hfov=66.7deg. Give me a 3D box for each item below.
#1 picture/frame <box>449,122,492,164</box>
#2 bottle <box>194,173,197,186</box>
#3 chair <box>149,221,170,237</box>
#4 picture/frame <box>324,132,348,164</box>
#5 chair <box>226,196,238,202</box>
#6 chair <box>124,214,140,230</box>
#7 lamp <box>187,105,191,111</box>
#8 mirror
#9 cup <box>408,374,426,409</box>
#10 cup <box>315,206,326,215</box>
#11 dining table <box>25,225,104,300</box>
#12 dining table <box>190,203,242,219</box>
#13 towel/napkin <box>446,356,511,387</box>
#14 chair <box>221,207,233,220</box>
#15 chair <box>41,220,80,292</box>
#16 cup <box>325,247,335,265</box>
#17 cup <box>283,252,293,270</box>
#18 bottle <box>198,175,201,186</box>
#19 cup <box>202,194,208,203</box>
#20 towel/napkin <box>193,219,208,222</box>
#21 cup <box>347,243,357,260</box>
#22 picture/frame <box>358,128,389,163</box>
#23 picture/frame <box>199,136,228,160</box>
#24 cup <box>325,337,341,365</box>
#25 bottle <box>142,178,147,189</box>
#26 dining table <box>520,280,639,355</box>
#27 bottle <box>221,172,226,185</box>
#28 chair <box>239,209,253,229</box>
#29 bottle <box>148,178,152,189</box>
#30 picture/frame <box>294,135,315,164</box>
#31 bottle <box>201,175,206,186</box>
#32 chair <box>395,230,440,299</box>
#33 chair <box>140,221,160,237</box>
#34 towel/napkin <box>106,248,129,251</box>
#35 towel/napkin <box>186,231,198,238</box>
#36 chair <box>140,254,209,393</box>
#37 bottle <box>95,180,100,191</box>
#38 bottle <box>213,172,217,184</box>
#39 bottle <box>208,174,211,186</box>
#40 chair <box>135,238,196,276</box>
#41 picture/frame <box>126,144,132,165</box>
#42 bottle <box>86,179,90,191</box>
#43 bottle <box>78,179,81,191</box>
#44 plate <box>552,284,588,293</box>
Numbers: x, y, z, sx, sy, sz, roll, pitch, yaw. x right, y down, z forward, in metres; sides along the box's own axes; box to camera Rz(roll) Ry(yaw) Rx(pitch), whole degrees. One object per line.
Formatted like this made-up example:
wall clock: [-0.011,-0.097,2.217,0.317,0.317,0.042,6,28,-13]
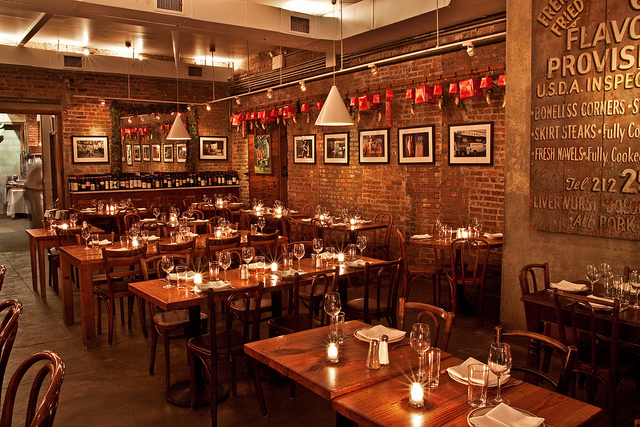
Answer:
picture/frame: [2.505,-1.150,7.963,0.707,0.691,0.029,2,3,44]
bottle: [-3.299,-0.900,12.863,0.075,0.226,0.144,-4,12,-15]
chair: [-2.790,0.265,8.417,0.221,0.295,0.208,-3,14,-30]
picture/frame: [0.381,-1.411,10.561,0.066,0.673,0.673,-5,7,-43]
chair: [-2.362,-0.380,13.166,0.201,0.162,0.207,4,10,16]
chair: [-3.435,0.150,8.893,0.209,0.328,0.247,-8,14,-44]
lamp: [-3.588,-2.865,13.330,0.094,0.132,0.051,1,8,-3]
mirror: [-4.326,-1.897,12.914,1.832,1.379,0.031,1,11,12]
cup: [0.658,1.224,3.351,0.130,0.228,0.139,-1,2,0]
cup: [0.017,-0.057,9.757,0.154,0.169,0.158,-1,6,0]
dining table: [-4.261,0.923,8.150,0.816,0.898,0.987,-9,-27,39]
dining table: [-2.385,-0.075,11.395,0.659,0.245,0.671,5,7,40]
towel/napkin: [1.112,1.167,3.519,0.262,0.098,0.285,-3,5,-39]
chair: [-2.168,0.027,11.309,0.239,0.422,0.661,-3,12,-12]
chair: [-3.981,0.756,7.802,0.572,0.913,0.575,10,3,-39]
cup: [0.150,0.553,6.296,0.135,0.228,0.139,-1,4,0]
cup: [-0.383,0.570,5.825,0.140,0.235,0.145,-1,0,0]
bottle: [-3.206,-0.849,12.955,0.097,0.227,0.202,-3,12,-10]
cup: [-2.853,-0.360,12.092,0.181,0.133,0.304,1,-13,-7]
towel/napkin: [-2.225,0.145,9.137,0.150,0.035,0.155,1,2,12]
cup: [0.411,0.499,6.303,0.156,0.213,0.166,0,4,0]
picture/frame: [1.061,-1.341,9.724,0.799,0.710,0.069,-7,9,-33]
picture/frame: [-3.058,-1.840,13.771,0.635,0.525,0.051,-8,7,-38]
cup: [0.089,1.077,3.794,0.141,0.168,0.144,0,-4,0]
bottle: [-4.299,-0.736,11.904,0.203,0.286,0.067,-6,13,-24]
dining table: [2.491,0.845,4.782,0.607,0.412,0.797,-6,8,-39]
bottle: [-2.674,-0.913,13.348,0.072,0.269,0.126,3,12,17]
chair: [-1.615,0.128,10.678,0.310,0.482,0.363,-8,12,-43]
bottle: [-4.200,-0.740,11.980,0.124,0.258,0.045,-10,15,-39]
picture/frame: [-0.364,-1.497,11.484,0.762,0.671,0.062,6,10,43]
bottle: [-3.088,-0.841,12.989,0.161,0.311,0.162,-1,4,0]
chair: [1.498,0.831,7.289,0.706,1.122,0.668,0,-1,24]
chair: [-2.811,0.257,8.029,0.232,0.266,0.253,1,1,27]
towel/napkin: [-2.582,0.472,6.224,0.156,0.039,0.153,3,2,28]
towel/napkin: [-2.023,0.338,7.647,0.225,0.094,0.084,0,2,19]
chair: [-1.624,1.191,5.568,0.750,1.344,0.797,2,7,15]
bottle: [-5.261,-0.647,11.576,0.119,0.168,0.075,-5,12,-20]
bottle: [-2.858,-0.927,13.260,0.105,0.251,0.178,1,12,6]
bottle: [-2.978,-0.876,13.148,0.056,0.213,0.153,4,13,23]
chair: [-1.983,0.546,6.231,0.488,0.701,0.489,-2,6,-42]
picture/frame: [-4.963,-1.519,12.674,0.183,0.513,0.095,-7,13,-28]
bottle: [-5.470,-0.665,11.502,0.116,0.234,0.146,-6,13,-26]
bottle: [-5.646,-0.640,11.452,0.062,0.173,0.085,-5,13,-22]
plate: [2.562,0.761,4.977,0.238,0.073,0.233,-1,0,-39]
